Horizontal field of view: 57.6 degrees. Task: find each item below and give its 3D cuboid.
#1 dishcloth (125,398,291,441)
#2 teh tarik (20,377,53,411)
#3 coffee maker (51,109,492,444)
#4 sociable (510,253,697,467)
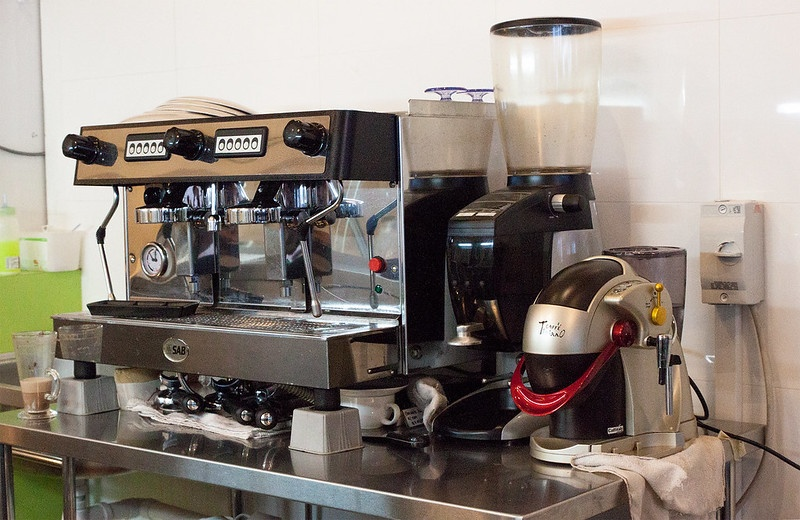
[{"bbox_3d":[-0.518,0.413,1.846,0.254,0.028,0.138,6,5,26],"label":"dishcloth"},{"bbox_3d":[-0.977,0.372,1.967,0.083,0.090,0.092,0,-5,-36],"label":"teh tarik"},{"bbox_3d":[-0.381,0.006,2.122,1.047,0.726,0.745,2,4,33],"label":"coffee maker"},{"bbox_3d":[0.472,0.224,1.705,0.506,0.431,0.372,1,-4,-35],"label":"sociable"}]
